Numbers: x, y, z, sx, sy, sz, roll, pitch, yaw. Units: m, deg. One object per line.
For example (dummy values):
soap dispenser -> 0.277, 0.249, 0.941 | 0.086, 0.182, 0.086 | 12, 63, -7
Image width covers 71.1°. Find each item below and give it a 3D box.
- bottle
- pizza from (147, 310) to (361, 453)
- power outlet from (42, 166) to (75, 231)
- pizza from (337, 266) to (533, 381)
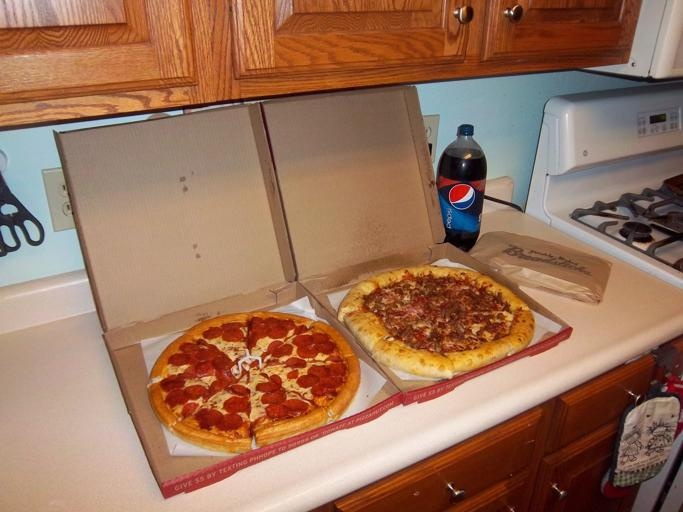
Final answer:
bottle -> 0.362, -0.191, 1.449 | 0.140, 0.328, 0.172 | -1, 26, 13
pizza -> -0.180, 0.253, 1.024 | 0.428, 0.113, 0.317 | -11, 25, -11
power outlet -> -0.689, -0.132, 1.164 | 0.064, 0.157, 0.018 | -20, 29, -26
pizza -> 0.241, 0.145, 1.215 | 0.453, 0.043, 0.476 | -5, 25, -5
